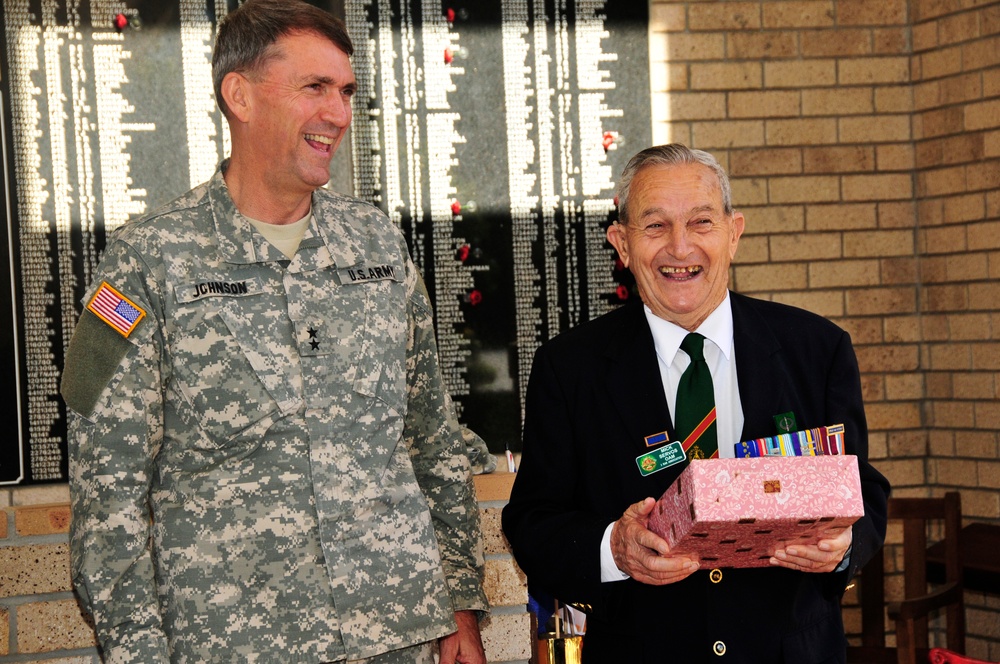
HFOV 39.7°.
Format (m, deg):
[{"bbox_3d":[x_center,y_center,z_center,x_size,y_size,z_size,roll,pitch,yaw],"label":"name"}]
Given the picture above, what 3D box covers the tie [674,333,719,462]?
[{"bbox_3d":[0.612,0.198,4.297,0.120,0.386,0.124,-2,0,19],"label":"tie"}]
